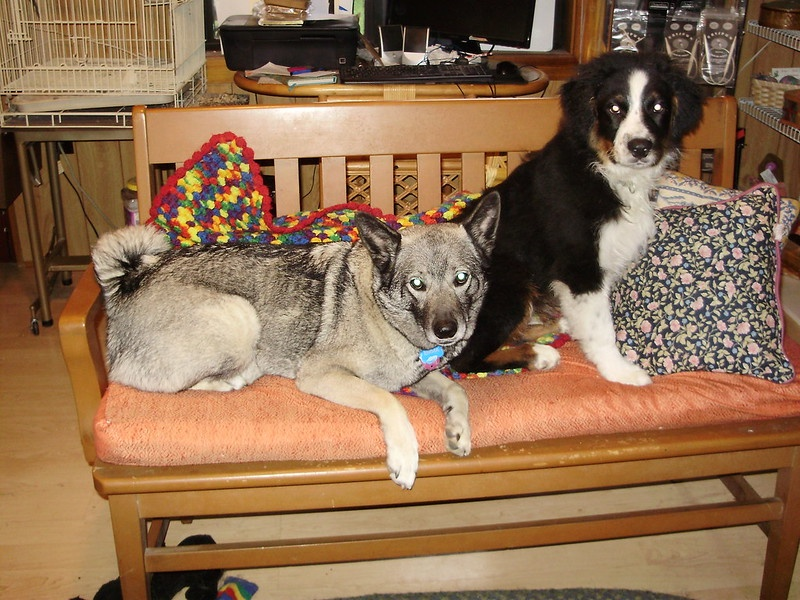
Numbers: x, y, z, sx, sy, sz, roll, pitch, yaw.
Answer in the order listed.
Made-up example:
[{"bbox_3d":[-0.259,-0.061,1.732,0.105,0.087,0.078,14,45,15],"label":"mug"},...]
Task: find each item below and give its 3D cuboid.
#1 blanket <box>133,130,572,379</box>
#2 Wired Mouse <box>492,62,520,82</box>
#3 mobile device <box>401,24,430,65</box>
[{"bbox_3d":[-0.232,0.127,4.122,2.582,1.719,0.995,-3,64,-3],"label":"blanket"},{"bbox_3d":[0.659,-1.382,4.159,0.160,0.053,0.158,1,42,-1],"label":"Wired Mouse"},{"bbox_3d":[0.108,-1.674,4.579,0.173,0.289,0.028,10,16,19],"label":"mobile device"}]
